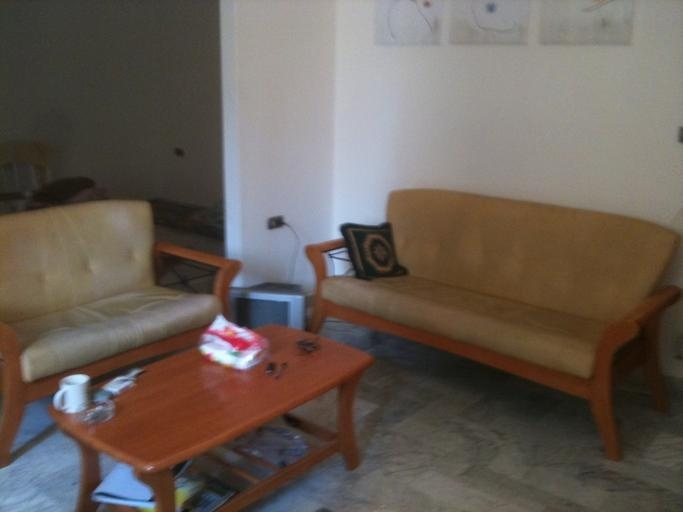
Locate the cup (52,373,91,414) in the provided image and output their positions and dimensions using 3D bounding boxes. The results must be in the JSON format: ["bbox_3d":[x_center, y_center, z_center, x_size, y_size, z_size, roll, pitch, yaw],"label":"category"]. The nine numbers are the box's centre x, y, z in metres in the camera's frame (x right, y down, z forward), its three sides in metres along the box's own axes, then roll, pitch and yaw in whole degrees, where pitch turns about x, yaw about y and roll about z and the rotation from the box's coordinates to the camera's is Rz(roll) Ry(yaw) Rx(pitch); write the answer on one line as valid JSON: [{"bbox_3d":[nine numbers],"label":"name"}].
[{"bbox_3d":[-0.982,0.505,2.108,0.096,0.105,0.156,8,16,13],"label":"cup"}]

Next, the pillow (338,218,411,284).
[{"bbox_3d":[0.205,-0.036,3.623,0.404,0.375,0.104,2,-24,-33],"label":"pillow"}]

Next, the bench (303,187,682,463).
[{"bbox_3d":[0.903,0.217,3.203,1.813,0.906,0.911,17,30,37],"label":"bench"}]
